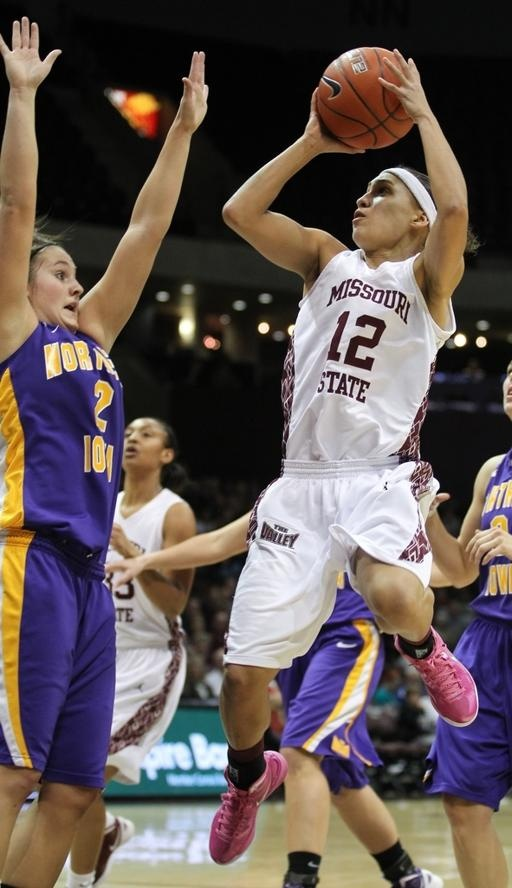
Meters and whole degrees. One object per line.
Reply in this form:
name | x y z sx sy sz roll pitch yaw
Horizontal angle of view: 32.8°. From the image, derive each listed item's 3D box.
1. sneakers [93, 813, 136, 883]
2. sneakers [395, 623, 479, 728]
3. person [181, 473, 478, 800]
sneakers | -0.589 1.689 3.641 0.079 0.227 0.102 12 -18 26
sneakers | 0.519 0.637 2.411 0.125 0.121 0.323 -22 33 -6
person | 0.259 0.524 2.352 0.663 0.945 0.477 10 12 -1
